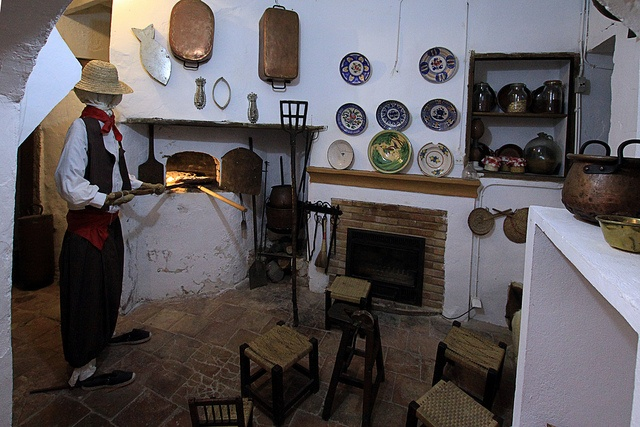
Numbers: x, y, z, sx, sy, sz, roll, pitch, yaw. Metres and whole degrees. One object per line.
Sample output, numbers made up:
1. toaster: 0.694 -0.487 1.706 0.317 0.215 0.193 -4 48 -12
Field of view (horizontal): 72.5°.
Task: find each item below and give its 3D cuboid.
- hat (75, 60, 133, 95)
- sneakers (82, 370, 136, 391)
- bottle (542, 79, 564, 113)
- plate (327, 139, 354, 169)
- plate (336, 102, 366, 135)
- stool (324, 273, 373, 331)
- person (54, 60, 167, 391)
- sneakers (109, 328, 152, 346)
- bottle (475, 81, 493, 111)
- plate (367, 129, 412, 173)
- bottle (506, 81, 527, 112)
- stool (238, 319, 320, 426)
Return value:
1. hat: -1.613 -0.970 3.275 0.265 0.117 0.269 17 4 43
2. sneakers: -1.660 1.267 3.414 0.366 0.113 0.136 -3 12 -19
3. bottle: 2.090 -1.028 3.900 0.192 0.281 0.115 -1 10 -14
4. plate: 0.196 -0.589 4.392 0.269 0.288 0.073 2 10 3
5. plate: 0.293 -0.922 4.341 0.289 0.303 0.070 1 8 14
6. stool: 0.221 0.873 3.996 0.448 0.495 0.460 7 15 21
7. person: -1.724 0.093 3.369 0.576 2.437 0.525 -3 11 -23
8. sneakers: -1.661 1.079 3.788 0.259 0.082 0.139 1 8 -18
9. bottle: 1.521 -1.059 4.035 0.223 0.264 0.156 3 10 8
10. plate: 0.670 -0.590 4.235 0.425 0.414 0.148 2 10 4
11. bottle: 1.786 -1.032 3.952 0.176 0.257 0.164 1 10 0
12. stool: -0.294 1.147 3.347 0.600 0.606 0.611 14 25 40
